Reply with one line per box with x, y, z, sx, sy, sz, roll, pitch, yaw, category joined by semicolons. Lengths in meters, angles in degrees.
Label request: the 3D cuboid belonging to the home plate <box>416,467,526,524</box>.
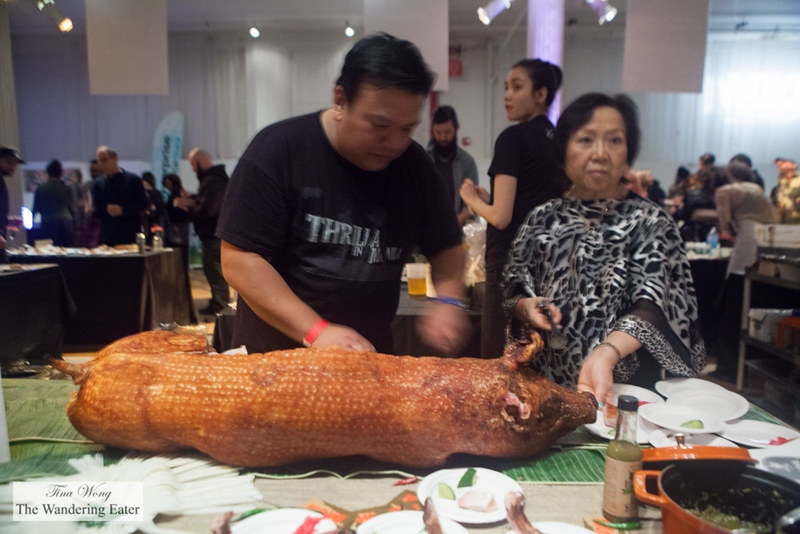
0.289;0.950;2.506;0.426;0.168;0.174;0;7;-1;home plate

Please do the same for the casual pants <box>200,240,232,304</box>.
-1.954;0.068;6.415;0.259;0.970;0.293;3;43;-13;casual pants

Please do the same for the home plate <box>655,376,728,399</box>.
1.416;0.591;3.018;0.161;0.018;0.166;-8;12;-15;home plate

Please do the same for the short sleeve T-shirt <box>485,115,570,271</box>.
0.937;-0.615;4.025;0.540;0.868;0.308;-4;30;5;short sleeve T-shirt

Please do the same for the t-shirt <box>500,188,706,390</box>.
1.059;0.141;3.372;1.013;1.101;0.566;4;-1;28;t-shirt

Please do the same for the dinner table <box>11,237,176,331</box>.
-3.060;0.240;6.893;1.041;0.612;1.096;-1;8;-4;dinner table

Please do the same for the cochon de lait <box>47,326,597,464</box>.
-0.325;0.630;2.858;2.378;0.527;0.749;4;27;2;cochon de lait

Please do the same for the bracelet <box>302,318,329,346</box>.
-0.396;0.305;2.835;0.030;0.112;0.110;36;-22;-4;bracelet

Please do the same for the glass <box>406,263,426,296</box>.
0.112;0.082;4.261;0.183;0.221;0.183;-2;7;-21;glass
